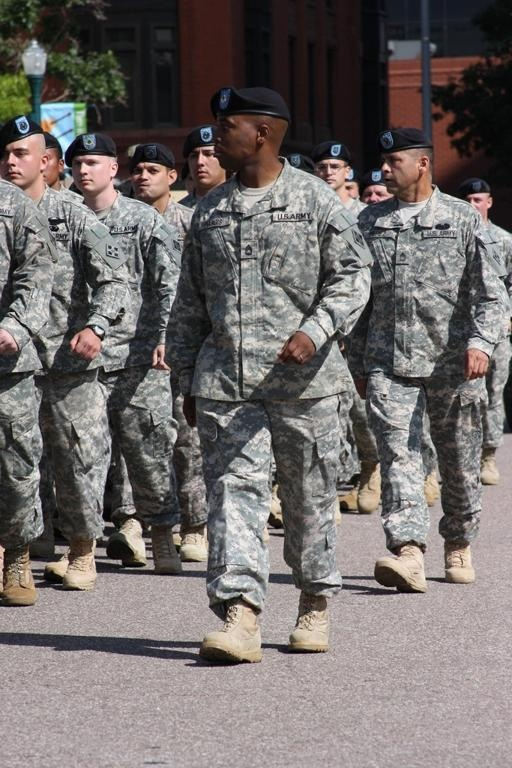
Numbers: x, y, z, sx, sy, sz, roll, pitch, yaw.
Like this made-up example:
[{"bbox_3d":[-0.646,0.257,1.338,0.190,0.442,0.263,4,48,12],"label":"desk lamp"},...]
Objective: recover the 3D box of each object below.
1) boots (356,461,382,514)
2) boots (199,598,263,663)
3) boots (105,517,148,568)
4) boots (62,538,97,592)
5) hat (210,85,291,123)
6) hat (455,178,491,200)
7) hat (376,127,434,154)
[{"bbox_3d":[0.910,0.805,8.822,0.179,0.317,0.495,-8,27,20],"label":"boots"},{"bbox_3d":[-0.089,0.916,3.929,0.212,0.283,0.223,-1,11,1],"label":"boots"},{"bbox_3d":[-0.783,0.916,6.595,0.189,0.322,0.367,-12,-34,10],"label":"boots"},{"bbox_3d":[-0.928,0.944,5.805,0.161,0.241,0.410,3,4,1],"label":"boots"},{"bbox_3d":[0.002,-1.034,3.990,0.228,0.063,0.158,3,-1,-11],"label":"hat"},{"bbox_3d":[2.172,-1.965,10.780,0.325,0.130,0.371,4,4,5],"label":"hat"},{"bbox_3d":[0.800,-1.337,5.908,0.234,0.075,0.175,1,-1,-40],"label":"hat"}]
